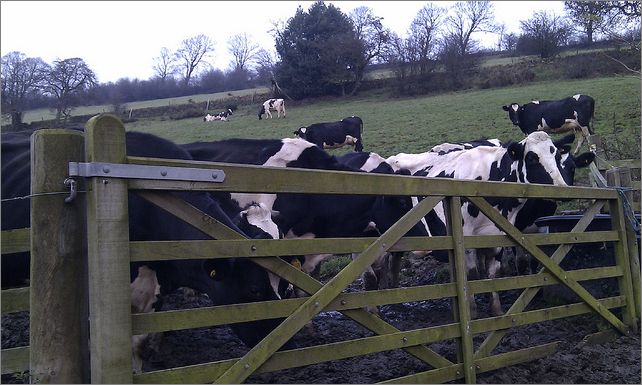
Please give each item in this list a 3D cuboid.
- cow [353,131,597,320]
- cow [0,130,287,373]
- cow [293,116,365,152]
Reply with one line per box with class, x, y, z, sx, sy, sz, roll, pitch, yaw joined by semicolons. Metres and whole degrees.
cow;2.791;0.409;11.134;1.069;2.767;4.099;-7;4;-41
cow;-2.461;0.700;7.967;4.020;3.472;0.821;-3;-10;7
cow;0.543;-2.596;24.067;3.397;2.008;1.400;3;-5;-3
